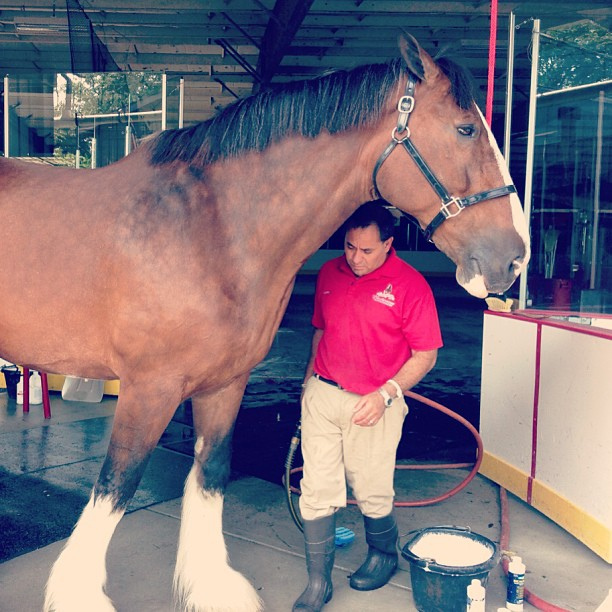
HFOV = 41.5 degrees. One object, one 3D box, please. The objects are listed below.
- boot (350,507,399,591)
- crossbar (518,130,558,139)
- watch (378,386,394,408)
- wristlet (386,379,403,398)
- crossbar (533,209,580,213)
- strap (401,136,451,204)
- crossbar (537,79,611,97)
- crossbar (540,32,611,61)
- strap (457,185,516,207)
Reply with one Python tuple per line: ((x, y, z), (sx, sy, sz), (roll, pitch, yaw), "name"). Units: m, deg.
((0.317, 1.041, 3.488), (0.263, 0.345, 0.110), (-2, 9, -25), "boot")
((1.270, -0.940, 4.438), (0.010, 0.032, 0.260), (-37, 30, -25), "crossbar")
((0.326, 0.371, 3.258), (0.030, 0.070, 0.075), (-30, 18, -3), "watch")
((0.377, 0.340, 3.317), (0.028, 0.068, 0.069), (-33, 37, 0), "wristlet")
((1.357, -0.518, 4.334), (0.186, 0.022, 0.023), (2, -22, 29), "crossbar")
((0.440, -0.506, 2.916), (0.037, 0.289, 0.044), (-39, 1, 17), "strap")
((1.426, -1.169, 4.310), (0.388, 0.066, 0.043), (5, 9, 30), "crossbar")
((1.436, -1.380, 4.247), (0.416, 0.035, 0.038), (25, 3, 16), "crossbar")
((0.658, -0.398, 2.919), (0.128, 0.033, 0.088), (-16, 4, 11), "strap")
